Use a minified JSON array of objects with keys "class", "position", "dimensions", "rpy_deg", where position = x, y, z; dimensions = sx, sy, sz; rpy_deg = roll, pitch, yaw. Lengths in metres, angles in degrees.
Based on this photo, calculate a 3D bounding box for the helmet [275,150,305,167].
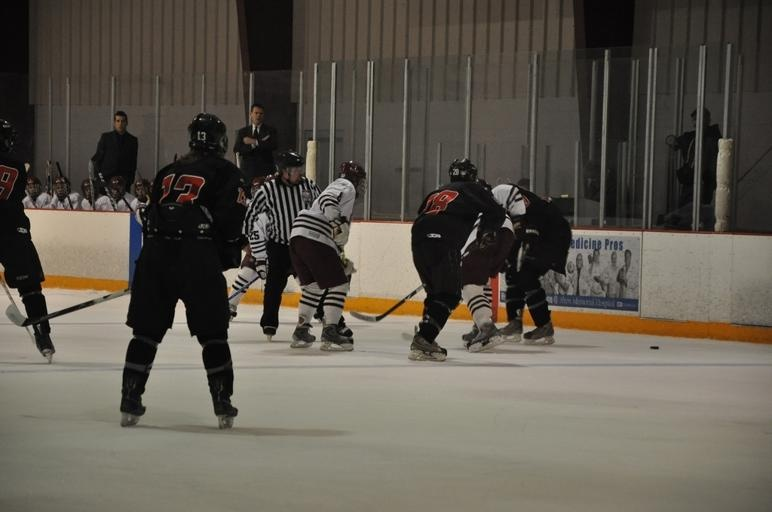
[{"class":"helmet","position":[-0.904,-0.889,8.131],"dimensions":[0.215,0.191,0.159],"rpy_deg":[-14,24,9]}]

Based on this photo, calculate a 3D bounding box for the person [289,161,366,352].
[{"class":"person","position":[-0.554,0.004,7.899],"dimensions":[0.660,1.694,0.529],"rpy_deg":[1,7,-2]}]

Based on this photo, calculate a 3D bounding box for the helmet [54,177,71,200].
[{"class":"helmet","position":[-4.972,-1.049,13.265],"dimensions":[0.269,0.306,0.340],"rpy_deg":[0,-8,-8]}]

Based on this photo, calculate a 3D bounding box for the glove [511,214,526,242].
[{"class":"glove","position":[1.268,-0.266,8.228],"dimensions":[0.080,0.200,0.155],"rpy_deg":[-3,10,-4]}]

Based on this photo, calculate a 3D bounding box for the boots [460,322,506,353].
[{"class":"boots","position":[0.818,0.751,7.953],"dimensions":[0.175,0.247,0.525],"rpy_deg":[-33,13,-32]}]

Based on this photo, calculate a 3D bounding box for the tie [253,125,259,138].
[{"class":"tie","position":[-1.665,-1.596,11.009],"dimensions":[0.076,0.126,0.031],"rpy_deg":[0,1,12]}]

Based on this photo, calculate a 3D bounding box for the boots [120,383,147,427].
[{"class":"boots","position":[-1.536,0.890,5.213],"dimensions":[0.137,0.263,0.188],"rpy_deg":[-1,7,-18]}]

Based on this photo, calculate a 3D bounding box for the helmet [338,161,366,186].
[{"class":"helmet","position":[-0.303,-0.773,8.095],"dimensions":[0.276,0.252,0.221],"rpy_deg":[-4,14,-32]}]

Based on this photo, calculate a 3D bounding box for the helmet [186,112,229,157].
[{"class":"helmet","position":[-1.145,-0.783,5.468],"dimensions":[0.233,0.258,0.281],"rpy_deg":[7,10,6]}]

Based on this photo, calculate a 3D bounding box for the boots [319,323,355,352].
[{"class":"boots","position":[-0.473,0.746,7.917],"dimensions":[0.336,0.213,0.178],"rpy_deg":[-1,4,-13]}]

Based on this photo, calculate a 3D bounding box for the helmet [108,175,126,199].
[{"class":"helmet","position":[-3.887,-0.988,12.464],"dimensions":[0.242,0.313,0.322],"rpy_deg":[0,1,-15]}]

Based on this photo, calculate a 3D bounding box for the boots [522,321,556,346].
[{"class":"boots","position":[1.521,0.784,8.537],"dimensions":[0.408,0.271,0.145],"rpy_deg":[2,2,3]}]

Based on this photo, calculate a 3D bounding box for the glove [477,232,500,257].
[{"class":"glove","position":[0.911,-0.108,7.787],"dimensions":[0.165,0.211,0.069],"rpy_deg":[3,-5,0]}]

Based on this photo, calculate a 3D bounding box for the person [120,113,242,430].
[{"class":"person","position":[-1.235,0.081,5.262],"dimensions":[0.738,1.888,0.575],"rpy_deg":[0,7,-9]}]

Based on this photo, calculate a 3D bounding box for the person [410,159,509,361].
[{"class":"person","position":[0.566,0.030,7.435],"dimensions":[0.785,1.706,0.557],"rpy_deg":[-5,10,-42]}]

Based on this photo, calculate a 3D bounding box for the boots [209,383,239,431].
[{"class":"boots","position":[-0.990,0.898,5.221],"dimensions":[0.152,0.278,0.206],"rpy_deg":[0,7,-13]}]

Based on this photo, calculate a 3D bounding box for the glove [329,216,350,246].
[{"class":"glove","position":[-0.405,-0.221,7.798],"dimensions":[0.137,0.284,0.323],"rpy_deg":[3,7,15]}]

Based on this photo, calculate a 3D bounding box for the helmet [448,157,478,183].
[{"class":"helmet","position":[0.683,-0.761,7.784],"dimensions":[0.240,0.249,0.277],"rpy_deg":[4,12,18]}]

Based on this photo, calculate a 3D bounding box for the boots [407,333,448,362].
[{"class":"boots","position":[0.343,0.783,7.336],"dimensions":[0.357,0.226,0.166],"rpy_deg":[-2,9,-7]}]

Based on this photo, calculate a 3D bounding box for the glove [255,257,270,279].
[{"class":"glove","position":[-1.198,0.109,8.314],"dimensions":[0.131,0.295,0.101],"rpy_deg":[3,-1,-5]}]

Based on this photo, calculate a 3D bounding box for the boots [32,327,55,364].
[{"class":"boots","position":[-2.733,0.725,6.906],"dimensions":[0.166,0.322,0.476],"rpy_deg":[-7,-7,-23]}]
